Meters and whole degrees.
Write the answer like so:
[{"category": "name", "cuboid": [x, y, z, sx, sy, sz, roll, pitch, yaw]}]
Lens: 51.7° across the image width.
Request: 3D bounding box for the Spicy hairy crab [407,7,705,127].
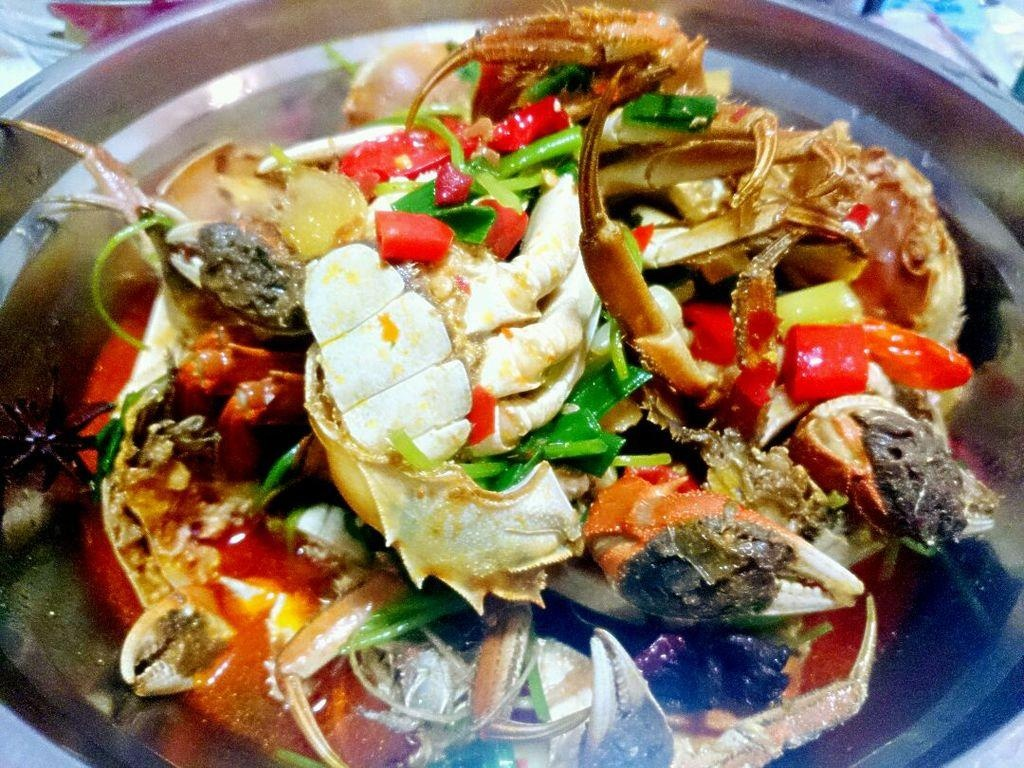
[{"category": "Spicy hairy crab", "cuboid": [0.097, -0.593, 1.933, 0.387, 0.288, 0.112, -30, 95, -10]}]
